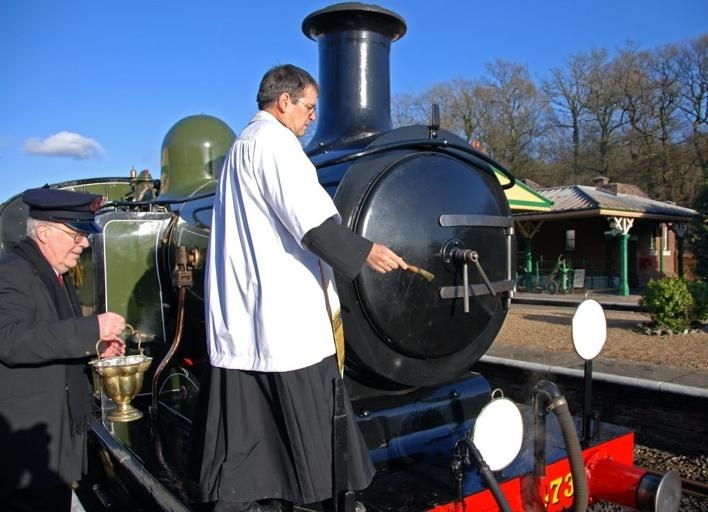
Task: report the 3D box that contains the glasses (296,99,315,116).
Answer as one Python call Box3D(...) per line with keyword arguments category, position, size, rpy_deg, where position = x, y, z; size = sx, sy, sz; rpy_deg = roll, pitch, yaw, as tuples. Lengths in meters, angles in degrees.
Box3D(category="glasses", position=(-0.273, -0.849, 3.719), size=(0.103, 0.037, 0.099), rpy_deg=(30, 17, 37))

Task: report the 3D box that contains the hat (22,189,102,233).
Box3D(category="hat", position=(-1.734, -0.299, 3.855), size=(0.375, 0.204, 0.343), rpy_deg=(9, 6, 18))

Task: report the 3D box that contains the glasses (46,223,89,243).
Box3D(category="glasses", position=(-1.678, -0.142, 3.879), size=(0.122, 0.044, 0.122), rpy_deg=(27, 7, 26))
